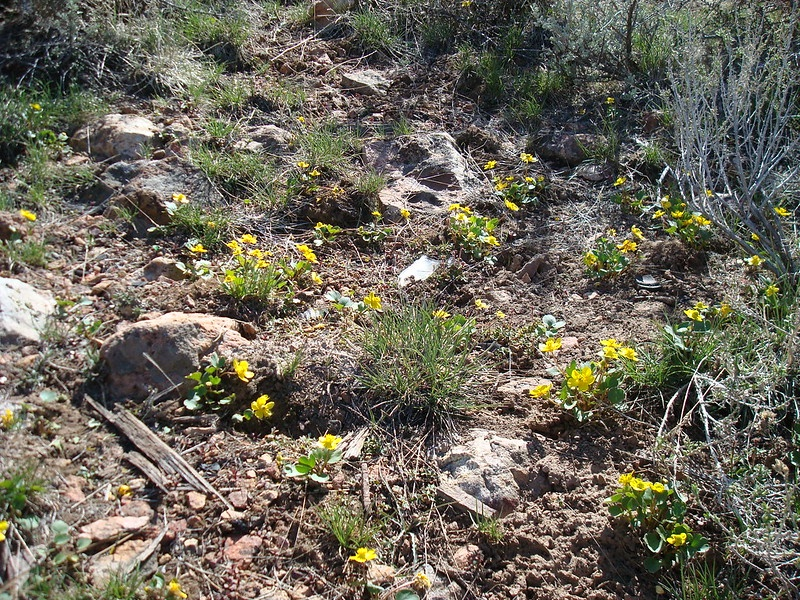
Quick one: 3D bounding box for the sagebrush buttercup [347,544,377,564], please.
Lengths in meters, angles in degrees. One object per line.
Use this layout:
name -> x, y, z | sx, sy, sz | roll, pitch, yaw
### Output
sagebrush buttercup -> -0.163, 1.253, 3.616 | 0.111, 0.061, 0.117 | -4, -1, 24

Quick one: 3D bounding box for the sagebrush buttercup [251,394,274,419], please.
sagebrush buttercup -> -0.790, 0.613, 4.121 | 0.069, 0.147, 0.131 | -3, 10, 24

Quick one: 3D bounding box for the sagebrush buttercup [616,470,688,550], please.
sagebrush buttercup -> 1.308, 1.082, 3.788 | 0.355, 0.199, 0.364 | 31, 47, 25

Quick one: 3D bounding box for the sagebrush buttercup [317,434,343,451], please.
sagebrush buttercup -> -0.378, 0.752, 3.966 | 0.100, 0.101, 0.045 | 16, 42, 5
